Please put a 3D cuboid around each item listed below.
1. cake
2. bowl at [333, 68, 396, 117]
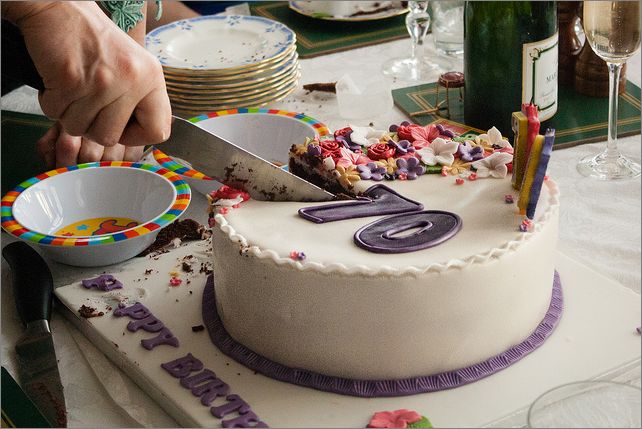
[{"bbox_3d":[0.161,0.129,1.181,0.794,0.288,0.360,-8,31,-1],"label":"cake"},{"bbox_3d":[0.162,-0.416,1.885,0.181,0.140,0.174,-4,44,4],"label":"bowl"}]
